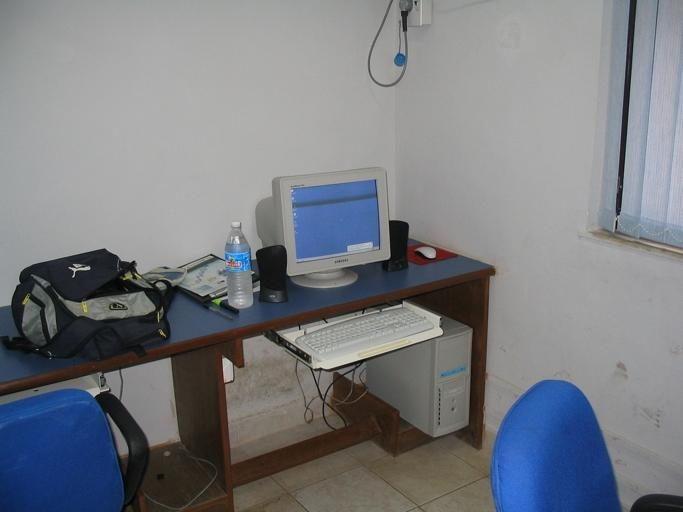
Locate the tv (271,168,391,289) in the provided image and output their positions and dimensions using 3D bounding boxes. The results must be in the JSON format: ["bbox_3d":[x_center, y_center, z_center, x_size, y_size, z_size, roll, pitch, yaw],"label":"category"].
[{"bbox_3d":[-0.052,-0.124,2.411,0.428,0.444,0.242,-11,17,-29],"label":"tv"}]

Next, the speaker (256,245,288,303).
[{"bbox_3d":[-0.302,0.074,2.274,0.130,0.239,0.125,-5,17,-5],"label":"speaker"}]

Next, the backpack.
[{"bbox_3d":[-0.966,0.186,1.963,0.436,0.197,0.456,22,28,39],"label":"backpack"}]

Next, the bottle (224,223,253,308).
[{"bbox_3d":[-0.448,0.030,2.217,0.118,0.364,0.200,-7,17,-12],"label":"bottle"}]
